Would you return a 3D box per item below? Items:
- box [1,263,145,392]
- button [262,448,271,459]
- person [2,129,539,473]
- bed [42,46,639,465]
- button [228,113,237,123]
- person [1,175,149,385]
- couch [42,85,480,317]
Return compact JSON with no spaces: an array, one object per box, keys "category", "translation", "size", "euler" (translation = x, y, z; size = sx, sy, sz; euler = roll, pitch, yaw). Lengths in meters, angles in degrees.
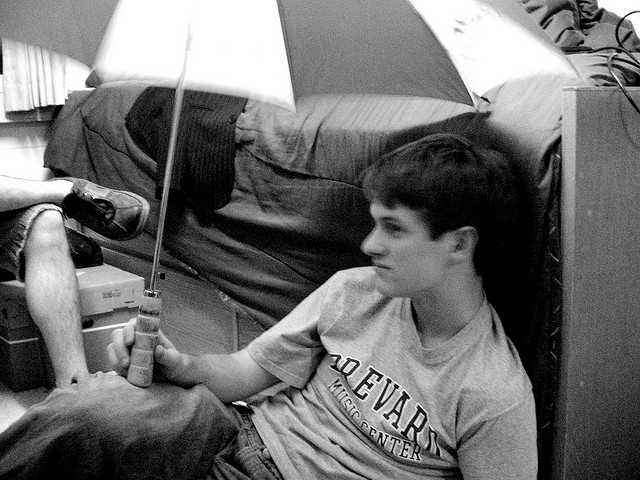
[{"category":"box","translation":[-0.766,0.243,2.095],"size":[0.440,0.275,0.438],"euler":[-5,12,-30]},{"category":"button","translation":[-0.115,0.457,1.386],"size":[0.017,0.012,0.019],"euler":[-10,30,-21]},{"category":"person","translation":[0.031,0.125,1.442],"size":[1.212,0.750,0.617],"euler":[1,23,-19]},{"category":"bed","translation":[-0.001,-0.005,2.033],"size":[1.406,0.660,1.334],"euler":[21,23,37]},{"category":"button","translation":[-0.258,-0.361,1.926],"size":[0.025,0.025,0.006],"euler":[-9,-25,37]},{"category":"person","translation":[-0.773,-0.019,1.996],"size":[0.277,0.389,0.919],"euler":[-10,36,-22]},{"category":"couch","translation":[-0.157,-0.333,2.184],"size":[1.176,0.363,0.727],"euler":[11,33,23]}]
